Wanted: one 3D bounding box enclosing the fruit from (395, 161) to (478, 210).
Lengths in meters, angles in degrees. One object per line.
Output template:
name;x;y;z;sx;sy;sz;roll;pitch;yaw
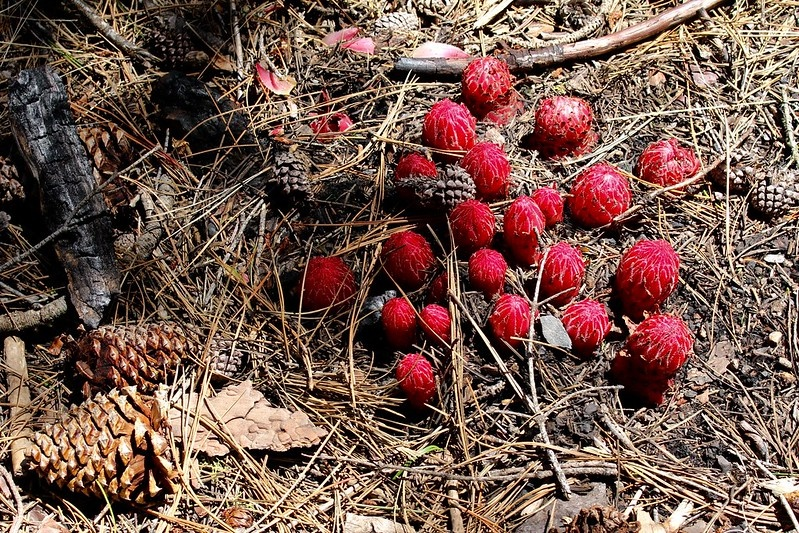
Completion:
fruit;0.229;-0.459;4.401;0.384;0.253;0.235;7;70;7

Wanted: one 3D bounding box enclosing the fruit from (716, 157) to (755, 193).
fruit;2.122;-0.567;4.786;0.206;0.160;0.200;3;36;-14

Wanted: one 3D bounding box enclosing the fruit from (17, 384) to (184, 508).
fruit;-1.632;0.978;4.254;0.759;0.554;0.602;-8;84;7

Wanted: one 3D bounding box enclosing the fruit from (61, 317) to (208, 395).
fruit;-1.470;0.501;4.348;0.747;0.447;0.439;-12;25;-18

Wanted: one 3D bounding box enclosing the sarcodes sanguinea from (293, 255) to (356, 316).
sarcodes sanguinea;-0.407;0.130;4.513;0.305;0.417;0.321;32;82;7

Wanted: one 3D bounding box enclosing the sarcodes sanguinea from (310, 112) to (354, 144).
sarcodes sanguinea;-0.434;-0.900;4.821;0.216;0.072;0.210;-31;65;-15

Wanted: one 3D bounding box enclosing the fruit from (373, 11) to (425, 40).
fruit;-0.018;-1.639;5.087;0.299;0.159;0.151;-6;12;-3
